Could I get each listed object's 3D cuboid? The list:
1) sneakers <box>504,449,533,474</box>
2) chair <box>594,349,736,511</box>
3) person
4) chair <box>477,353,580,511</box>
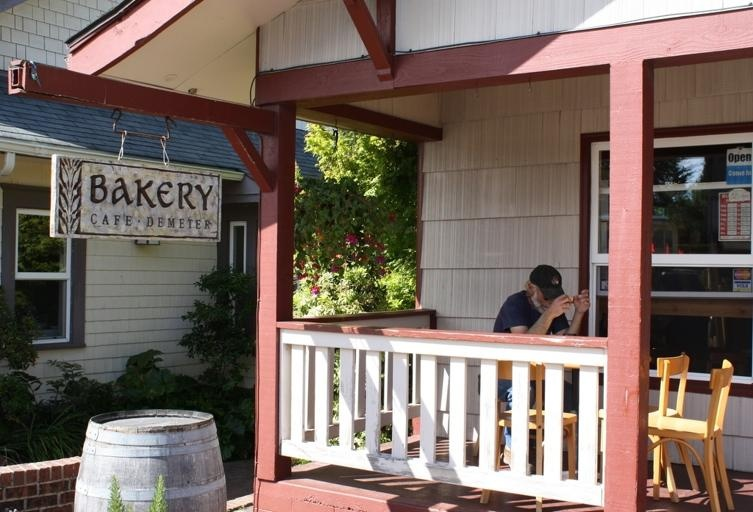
[{"bbox_3d":[1.162,1.652,6.919,0.196,0.266,0.611,1,-10,0],"label":"sneakers"},{"bbox_3d":[2.488,1.368,7.322,1.093,1.756,1.081,0,-2,27],"label":"chair"},{"bbox_3d":[1.209,0.783,7.389,0.691,1.323,0.616,20,14,35],"label":"person"},{"bbox_3d":[1.225,1.395,6.827,0.752,1.186,1.396,0,-1,12],"label":"chair"}]
